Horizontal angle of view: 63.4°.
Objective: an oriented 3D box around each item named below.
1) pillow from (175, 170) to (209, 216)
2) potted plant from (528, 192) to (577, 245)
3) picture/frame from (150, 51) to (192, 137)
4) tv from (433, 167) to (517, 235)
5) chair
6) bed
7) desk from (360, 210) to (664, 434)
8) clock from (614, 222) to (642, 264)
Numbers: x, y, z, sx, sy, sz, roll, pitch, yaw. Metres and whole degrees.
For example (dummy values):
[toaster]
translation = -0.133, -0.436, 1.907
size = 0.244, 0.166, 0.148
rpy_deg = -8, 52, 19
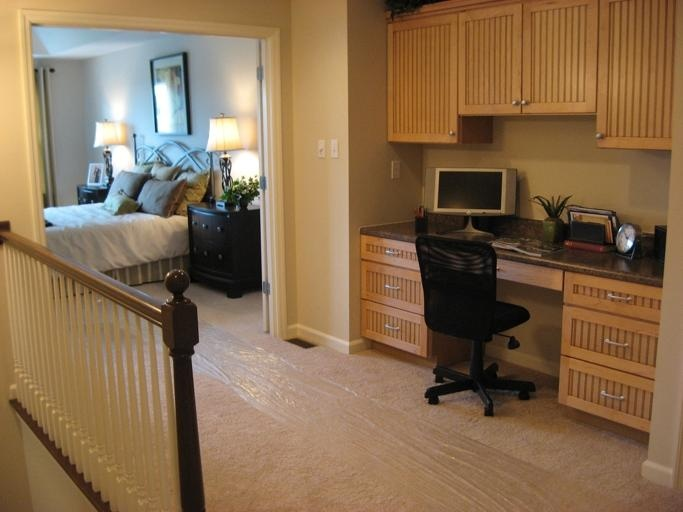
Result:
[pillow]
translation = -1.738, -0.748, 6.437
size = 0.466, 0.470, 0.152
rpy_deg = 8, -10, 34
[potted plant]
translation = 1.388, -0.244, 3.767
size = 0.330, 0.348, 0.272
rpy_deg = 1, 2, 44
[picture/frame]
translation = -2.186, -2.114, 7.097
size = 0.106, 1.123, 1.066
rpy_deg = -9, 15, -35
[tv]
translation = 0.969, -0.411, 3.946
size = 0.465, 0.360, 0.128
rpy_deg = 4, 5, 34
[chair]
translation = 0.840, 0.379, 3.550
size = 0.688, 1.077, 0.660
rpy_deg = -13, 15, -38
[bed]
translation = -2.503, -0.317, 6.578
size = 1.945, 1.473, 1.901
rpy_deg = -15, 27, -39
[desk]
translation = 1.125, 0.381, 3.715
size = 1.997, 0.963, 0.659
rpy_deg = 12, 21, 39
[clock]
translation = 1.661, -0.072, 3.204
size = 0.124, 0.244, 0.208
rpy_deg = -4, 6, -15
